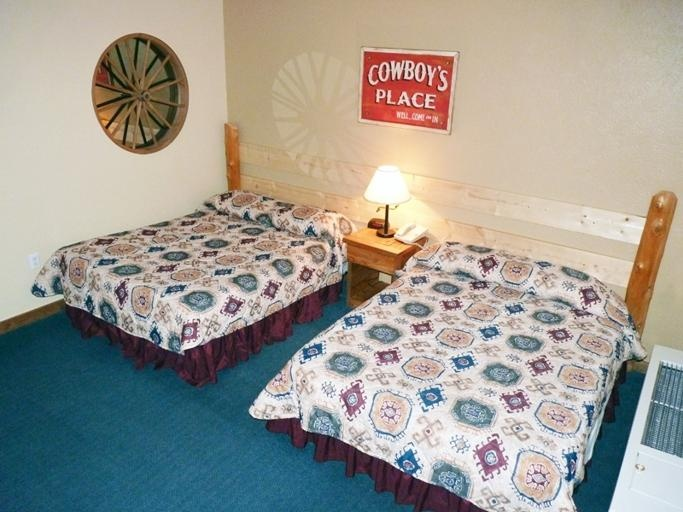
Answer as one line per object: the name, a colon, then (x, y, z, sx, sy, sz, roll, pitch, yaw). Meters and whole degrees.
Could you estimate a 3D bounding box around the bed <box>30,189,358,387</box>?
bed: (-0.904, 0.121, 4.469, 1.786, 0.732, 2.057, 22, 30, 31)

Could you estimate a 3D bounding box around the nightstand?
nightstand: (0.421, 0.074, 4.506, 0.464, 0.682, 0.558, 21, 32, 37)

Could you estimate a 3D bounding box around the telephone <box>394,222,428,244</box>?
telephone: (0.697, -0.230, 4.694, 0.227, 0.087, 0.231, 19, 46, 37)

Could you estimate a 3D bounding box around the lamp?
lamp: (0.464, -0.539, 4.758, 0.429, 0.673, 0.471, 5, 21, 7)
